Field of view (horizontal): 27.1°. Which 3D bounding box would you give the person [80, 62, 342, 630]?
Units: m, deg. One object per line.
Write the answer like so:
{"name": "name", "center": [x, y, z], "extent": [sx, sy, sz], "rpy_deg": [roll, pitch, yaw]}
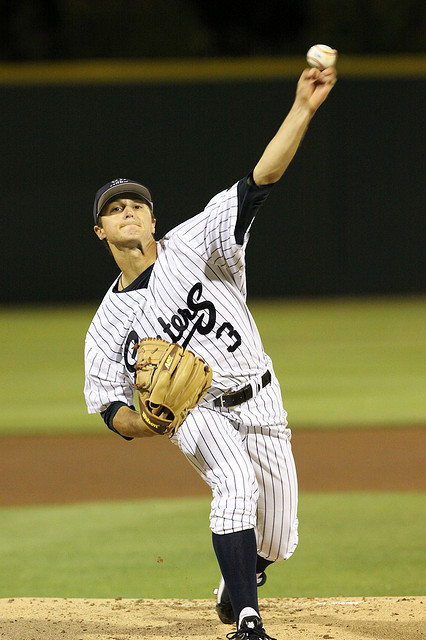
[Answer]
{"name": "person", "center": [-0.033, 0.186, 3.138], "extent": [0.718, 2.014, 0.920], "rpy_deg": [-4, 6, -21]}

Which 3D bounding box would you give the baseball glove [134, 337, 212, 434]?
{"name": "baseball glove", "center": [-0.129, 0.144, 2.933], "extent": [0.226, 0.292, 0.141], "rpy_deg": [15, 51, 11]}
